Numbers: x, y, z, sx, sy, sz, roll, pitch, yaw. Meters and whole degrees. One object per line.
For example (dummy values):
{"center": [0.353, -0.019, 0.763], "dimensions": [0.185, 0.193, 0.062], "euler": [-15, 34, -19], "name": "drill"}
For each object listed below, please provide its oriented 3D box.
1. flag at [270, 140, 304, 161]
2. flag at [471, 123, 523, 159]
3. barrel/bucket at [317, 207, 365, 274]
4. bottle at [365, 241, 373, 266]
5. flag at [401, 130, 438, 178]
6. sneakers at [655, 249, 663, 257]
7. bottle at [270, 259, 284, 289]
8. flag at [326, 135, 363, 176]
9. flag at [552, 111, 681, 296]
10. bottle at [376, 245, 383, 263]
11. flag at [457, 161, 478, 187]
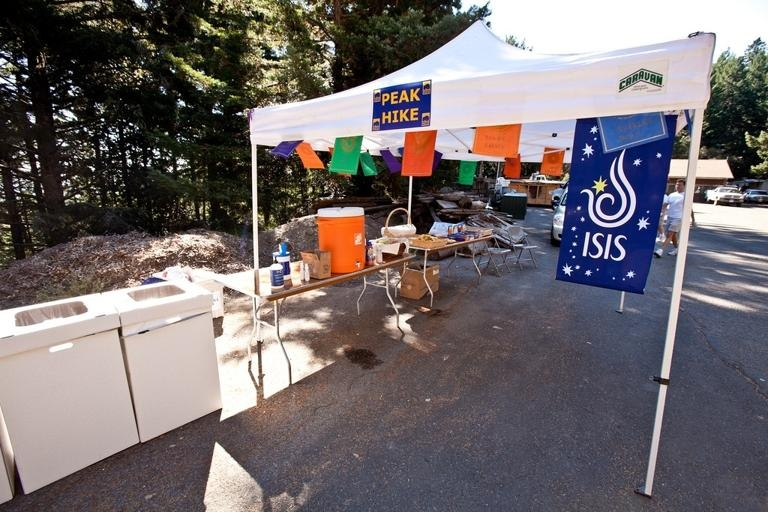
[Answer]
{"center": [-1.547, -1.681, 7.329], "dimensions": [0.495, 0.240, 0.245], "euler": [-3, 12, 0], "name": "flag"}
{"center": [1.649, -1.672, 6.777], "dimensions": [0.630, 0.433, 0.382], "euler": [2, 13, 19], "name": "flag"}
{"center": [-0.678, -0.226, 7.215], "dimensions": [0.834, 0.919, 0.623], "euler": [-10, 20, -32], "name": "barrel/bucket"}
{"center": [-0.248, -0.031, 7.778], "dimensions": [0.130, 0.343, 0.341], "euler": [-3, 12, -1], "name": "bottle"}
{"center": [0.553, -1.638, 7.438], "dimensions": [0.548, 0.683, 0.373], "euler": [0, 13, 13], "name": "flag"}
{"center": [7.745, -0.067, 13.148], "dimensions": [0.172, 0.207, 0.516], "euler": [5, 5, 42], "name": "sneakers"}
{"center": [-1.601, 0.293, 6.911], "dimensions": [0.189, 0.330, 0.238], "euler": [-6, 13, -13], "name": "bottle"}
{"center": [-0.660, -1.701, 7.929], "dimensions": [0.541, 0.605, 0.541], "euler": [-4, 12, -5], "name": "flag"}
{"center": [2.929, -0.662, 5.906], "dimensions": [1.232, 2.172, 0.569], "euler": [3, 14, 24], "name": "flag"}
{"center": [-0.090, -0.016, 7.862], "dimensions": [0.090, 0.258, 0.291], "euler": [-1, 12, 10], "name": "bottle"}
{"center": [2.006, -1.991, 11.253], "dimensions": [0.365, 0.620, 1.408], "euler": [-1, 12, 8], "name": "flag"}
